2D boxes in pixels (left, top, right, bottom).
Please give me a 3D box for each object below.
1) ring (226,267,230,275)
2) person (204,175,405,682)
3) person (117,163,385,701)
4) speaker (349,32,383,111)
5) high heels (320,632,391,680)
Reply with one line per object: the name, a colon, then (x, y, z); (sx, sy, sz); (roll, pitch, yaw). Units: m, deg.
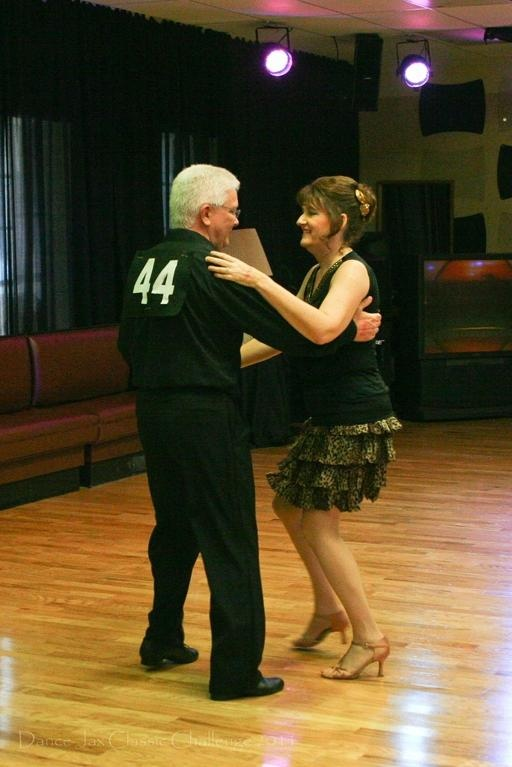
ring: (-0.057, -0.230, 1.325); (0.007, 0.008, 0.004); (-5, -13, 15)
person: (0.055, 0.104, 1.752); (0.635, 1.306, 0.551); (2, -2, 15)
person: (-0.036, 0.117, 1.598); (0.623, 1.210, 0.537); (3, 4, 27)
speaker: (1.035, -2.882, 6.034); (0.226, 0.607, 0.237); (1, -3, 2)
high heels: (0.270, 0.740, 1.788); (0.206, 0.111, 0.101); (-2, -7, 10)
